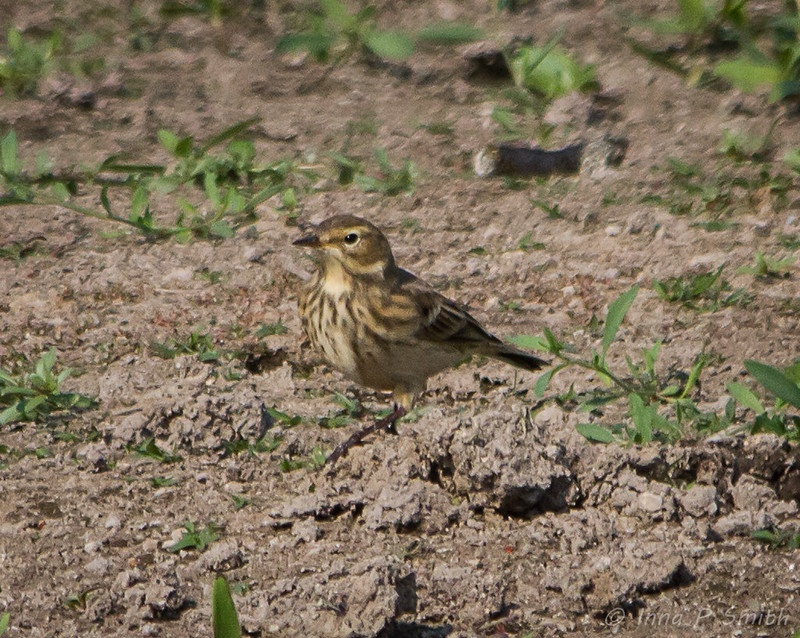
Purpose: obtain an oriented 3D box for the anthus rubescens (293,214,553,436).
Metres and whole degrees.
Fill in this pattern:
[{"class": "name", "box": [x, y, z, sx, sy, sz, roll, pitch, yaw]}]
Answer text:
[{"class": "anthus rubescens", "box": [-0.114, -0.070, 6.770, 1.923, 1.302, 0.991, 0, -10, -29]}]
